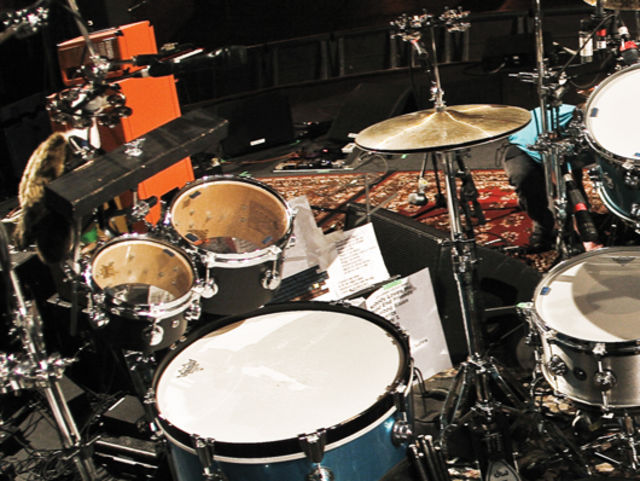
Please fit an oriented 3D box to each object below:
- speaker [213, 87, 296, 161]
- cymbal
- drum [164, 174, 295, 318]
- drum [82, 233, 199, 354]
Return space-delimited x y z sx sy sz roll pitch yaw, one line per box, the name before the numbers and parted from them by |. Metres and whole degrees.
speaker | -0.934 -1.244 6.324 0.612 0.579 1.055 19 33 36
cymbal | 0.483 -0.450 2.426 0.470 0.079 0.410 3 25 34
drum | -0.416 0.019 2.265 0.541 0.331 0.500 3 46 -3
drum | -0.599 0.188 2.073 0.449 0.258 0.339 3 47 -26
